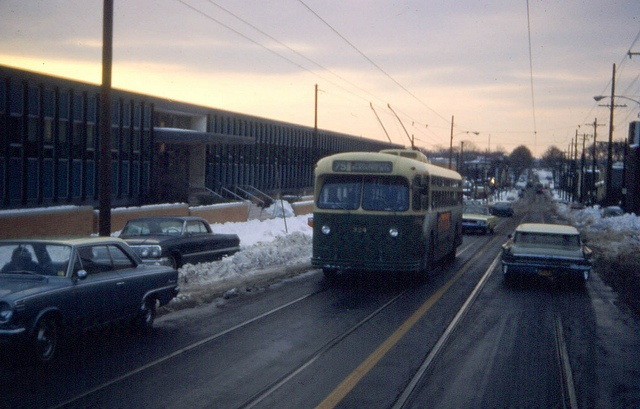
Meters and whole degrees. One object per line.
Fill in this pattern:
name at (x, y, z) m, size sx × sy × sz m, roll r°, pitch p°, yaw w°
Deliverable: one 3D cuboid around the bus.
bus at (2.603, 0.278, 18.551) m, size 3.037 × 4.207 × 6.126 m, roll 5°, pitch 8°, yaw 31°
